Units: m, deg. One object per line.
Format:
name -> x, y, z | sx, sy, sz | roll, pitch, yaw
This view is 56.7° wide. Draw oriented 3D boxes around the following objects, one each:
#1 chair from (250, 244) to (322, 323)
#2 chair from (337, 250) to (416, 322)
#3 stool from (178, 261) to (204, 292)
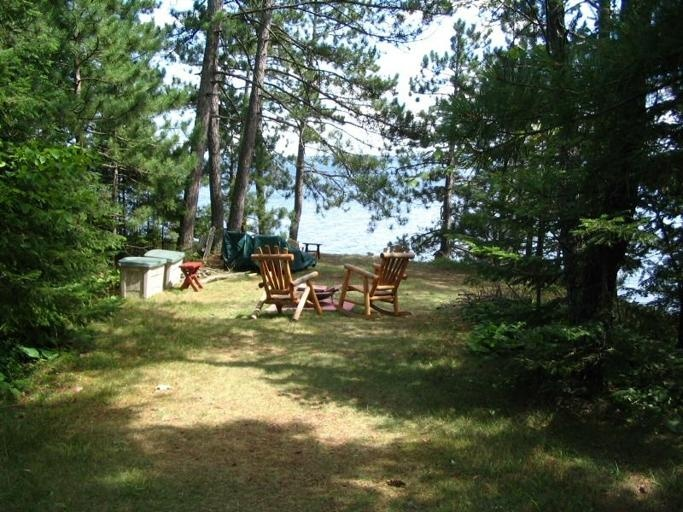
chair -> -0.936, 0.448, 10.840 | 1.020, 1.284, 1.172 | -2, 5, 0
chair -> 0.596, 0.444, 11.233 | 1.246, 1.300, 1.204 | 6, 7, 23
stool -> -2.979, 0.366, 12.738 | 0.479, 0.683, 0.641 | 1, 7, 3
